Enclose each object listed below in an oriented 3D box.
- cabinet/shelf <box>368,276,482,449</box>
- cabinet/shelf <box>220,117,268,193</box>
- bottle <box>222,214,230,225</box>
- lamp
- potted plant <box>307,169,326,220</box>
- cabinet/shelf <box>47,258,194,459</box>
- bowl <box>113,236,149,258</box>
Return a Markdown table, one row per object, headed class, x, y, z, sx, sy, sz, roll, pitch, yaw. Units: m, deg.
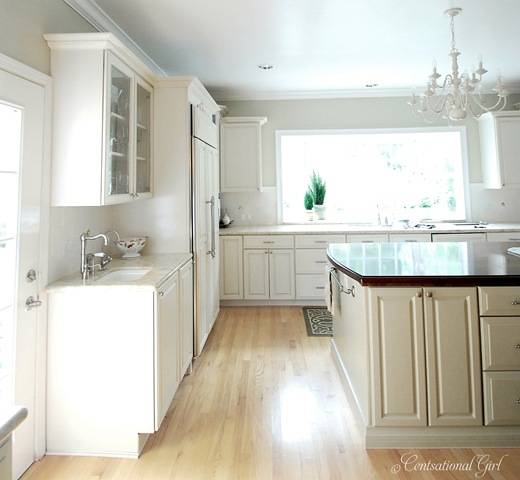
| class | x | y | z | sx | sy | sz | roll | pitch | yaw |
| --- | --- | --- | --- | --- | --- | --- | --- | --- | --- |
| cabinet/shelf | 0.969 | 0.665 | 2.703 | 0.638 | 0.928 | 0.574 | -3 | 6 | 8 |
| cabinet/shelf | -0.206 | -1.036 | 5.351 | 0.671 | 0.917 | 0.644 | 5 | 11 | 14 |
| bottle | -0.411 | -0.247 | 5.322 | 0.109 | 0.149 | 0.236 | -1 | 11 | -3 |
| lamp | 1.814 | -1.583 | 3.927 | 0.945 | 1.058 | 0.961 | 4 | 8 | 41 |
| potted plant | 0.739 | -0.570 | 5.532 | 0.213 | 0.602 | 0.291 | 1 | 10 | 6 |
| cabinet/shelf | -0.931 | 0.711 | 3.155 | 0.674 | 0.996 | 1.345 | -1 | 4 | 0 |
| bowl | -0.968 | 0.048 | 3.313 | 0.184 | 0.102 | 0.171 | -1 | -4 | 0 |
